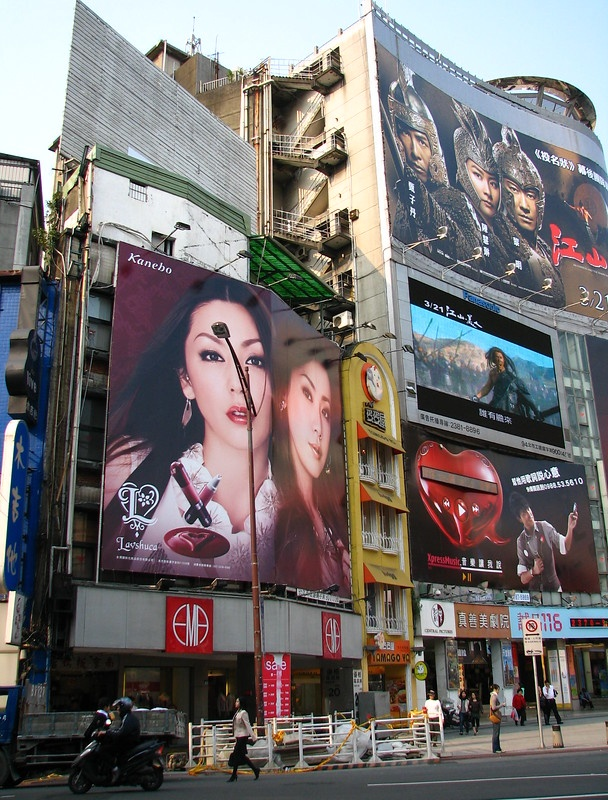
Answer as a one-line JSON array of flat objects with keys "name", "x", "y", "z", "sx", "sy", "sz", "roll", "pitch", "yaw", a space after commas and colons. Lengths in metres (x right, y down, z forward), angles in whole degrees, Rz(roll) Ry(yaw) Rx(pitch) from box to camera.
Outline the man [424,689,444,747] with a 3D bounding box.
[{"name": "man", "x": 3.762, "y": 9.273, "z": 20.496, "sx": 0.597, "sy": 1.498, "sz": 0.453, "roll": -4, "pitch": -1, "yaw": 11}]

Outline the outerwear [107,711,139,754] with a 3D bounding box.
[{"name": "outerwear", "x": -2.700, "y": 5.032, "z": 10.681, "sx": 0.413, "sy": 0.550, "sz": 0.496, "roll": -1, "pitch": -39, "yaw": -4}]

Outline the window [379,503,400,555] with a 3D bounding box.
[{"name": "window", "x": 4.432, "y": 6.817, "z": 36.974, "sx": 0.558, "sy": 2.557, "sz": 1.735, "roll": -14, "pitch": -23, "yaw": 23}]

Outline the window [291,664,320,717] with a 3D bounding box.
[{"name": "window", "x": 0.126, "y": 13.966, "z": 33.733, "sx": 1.462, "sy": 2.033, "sz": 0.830, "roll": -6, "pitch": -21, "yaw": 4}]

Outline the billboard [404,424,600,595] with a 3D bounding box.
[{"name": "billboard", "x": 12.285, "y": 7.212, "z": 44.851, "sx": 11.876, "sy": 6.858, "sz": 0.541, "roll": 18, "pitch": -35, "yaw": -34}]

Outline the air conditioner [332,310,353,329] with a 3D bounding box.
[{"name": "air conditioner", "x": 2.473, "y": -5.116, "z": 44.686, "sx": 0.692, "sy": 1.298, "sz": 1.489, "roll": 12, "pitch": -14, "yaw": -33}]

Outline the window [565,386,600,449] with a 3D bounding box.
[{"name": "window", "x": 22.203, "y": 1.541, "z": 56.614, "sx": 3.755, "sy": 4.952, "sz": 0.440, "roll": 24, "pitch": -33, "yaw": -36}]

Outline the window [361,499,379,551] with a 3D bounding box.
[{"name": "window", "x": 3.252, "y": 6.310, "z": 35.384, "sx": 0.113, "sy": 2.022, "sz": 1.939, "roll": -12, "pitch": -31, "yaw": 24}]

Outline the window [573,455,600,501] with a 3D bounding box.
[{"name": "window", "x": 21.400, "y": 6.008, "z": 53.723, "sx": 0.297, "sy": 3.147, "sz": 2.800, "roll": -22, "pitch": -32, "yaw": 37}]

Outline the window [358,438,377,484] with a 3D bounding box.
[{"name": "window", "x": 3.243, "y": 3.205, "z": 36.459, "sx": 0.644, "sy": 1.764, "sz": 1.806, "roll": -9, "pitch": -25, "yaw": 17}]

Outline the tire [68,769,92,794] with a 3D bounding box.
[{"name": "tire", "x": -3.170, "y": 5.411, "z": 9.959, "sx": 0.317, "sy": 0.278, "sz": 0.541, "roll": 1, "pitch": -22, "yaw": -15}]

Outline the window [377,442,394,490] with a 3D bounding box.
[{"name": "window", "x": 4.356, "y": 3.585, "z": 38.016, "sx": 0.357, "sy": 2.561, "sz": 1.615, "roll": -29, "pitch": -48, "yaw": 31}]

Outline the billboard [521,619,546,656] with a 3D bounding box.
[{"name": "billboard", "x": 6.266, "y": 6.506, "z": 19.348, "sx": 0.495, "sy": 0.999, "sz": 0.846, "roll": -10, "pitch": -22, "yaw": 14}]

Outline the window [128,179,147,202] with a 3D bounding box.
[{"name": "window", "x": -7.171, "y": -8.989, "z": 30.143, "sx": 0.140, "sy": 1.101, "sz": 1.096, "roll": -23, "pitch": -23, "yaw": 28}]

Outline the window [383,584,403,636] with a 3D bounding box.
[{"name": "window", "x": 4.412, "y": 10.578, "z": 35.289, "sx": 0.122, "sy": 2.281, "sz": 2.248, "roll": -12, "pitch": -23, "yaw": 29}]
